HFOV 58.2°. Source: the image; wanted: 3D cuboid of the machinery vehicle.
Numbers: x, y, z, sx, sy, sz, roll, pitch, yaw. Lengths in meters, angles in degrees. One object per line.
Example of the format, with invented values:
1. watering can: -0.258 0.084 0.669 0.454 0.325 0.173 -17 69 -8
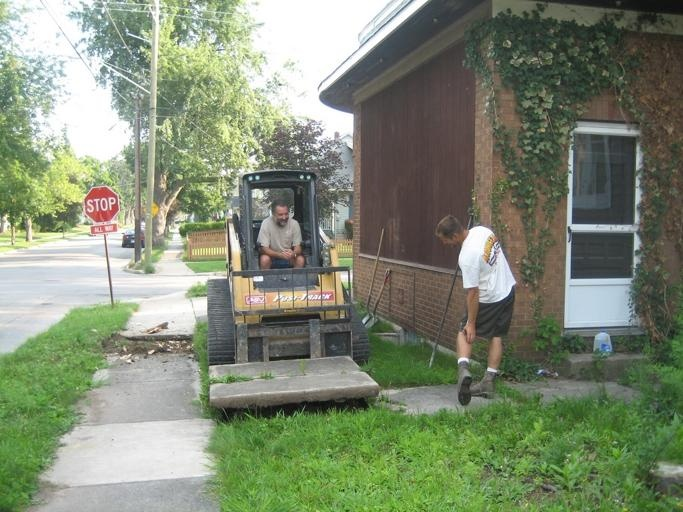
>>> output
1. machinery vehicle: -0.875 0.107 9.122 2.133 2.773 2.142 1 2 -14

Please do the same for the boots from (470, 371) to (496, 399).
1. boots: 1.781 1.592 7.586 0.367 0.392 0.212 4 0 8

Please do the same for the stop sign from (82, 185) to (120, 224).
1. stop sign: -5.889 -1.272 15.051 0.773 0.957 1.165 1 2 -24

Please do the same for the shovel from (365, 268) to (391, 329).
1. shovel: 0.798 0.899 12.741 0.133 1.085 0.406 20 -14 1

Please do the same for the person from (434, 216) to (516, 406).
1. person: 1.612 0.627 7.518 0.647 2.206 1.127 3 3 44
